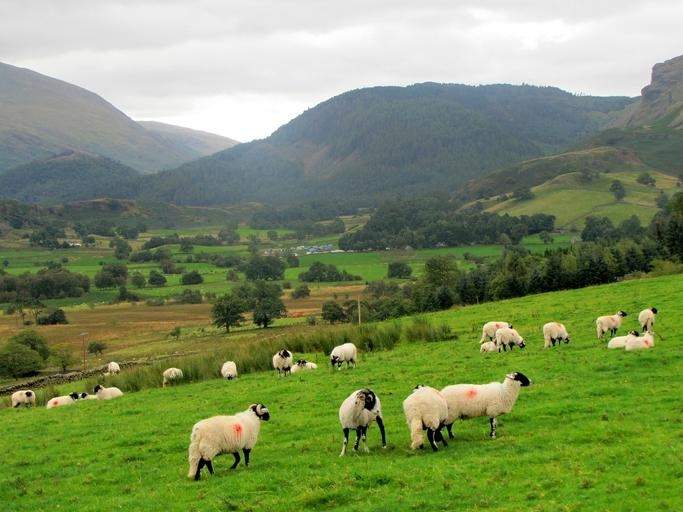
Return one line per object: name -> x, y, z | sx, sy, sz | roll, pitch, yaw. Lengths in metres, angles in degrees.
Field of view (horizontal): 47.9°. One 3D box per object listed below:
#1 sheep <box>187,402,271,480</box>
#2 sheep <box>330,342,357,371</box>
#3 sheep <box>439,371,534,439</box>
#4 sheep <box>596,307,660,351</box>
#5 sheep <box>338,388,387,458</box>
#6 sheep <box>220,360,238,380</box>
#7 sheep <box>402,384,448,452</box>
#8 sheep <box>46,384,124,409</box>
sheep -> -6.970, 11.074, 45.593 | 4.828, 3.232, 1.224 | -13, 14, -25
sheep -> 0.163, 7.709, 58.789 | 1.742, 1.871, 2.250 | -2, 13, 20
sheep -> 8.612, 9.233, 46.811 | 5.075, 3.267, 1.220 | -9, 12, -9
sheep -> 20.636, 5.468, 55.883 | 6.003, 3.374, 1.953 | -1, 1, -37
sheep -> 1.055, 9.817, 46.465 | 2.706, 3.629, 1.867 | -7, 12, -3
sheep -> -9.005, 9.280, 61.170 | 1.283, 1.146, 2.792 | -9, 13, -10
sheep -> 4.758, 9.547, 46.570 | 2.446, 3.933, 2.396 | -1, 6, -24
sheep -> -20.392, 11.005, 60.967 | 5.589, 1.101, 2.146 | -7, 12, -1
